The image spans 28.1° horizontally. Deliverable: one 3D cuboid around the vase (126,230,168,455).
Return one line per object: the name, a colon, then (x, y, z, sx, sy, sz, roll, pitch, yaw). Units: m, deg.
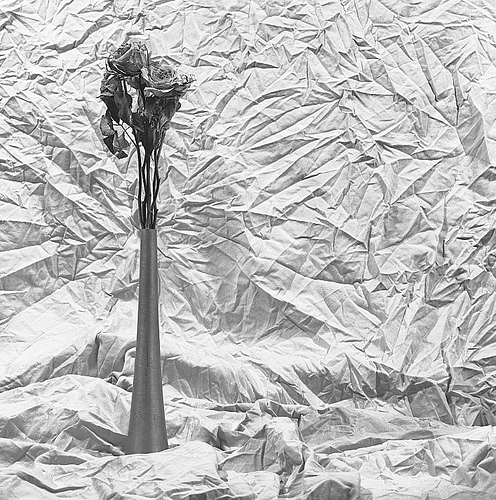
vase: (-0.176, 0.166, 1.716, 0.086, 0.378, 0.088, 6, 8, 30)
